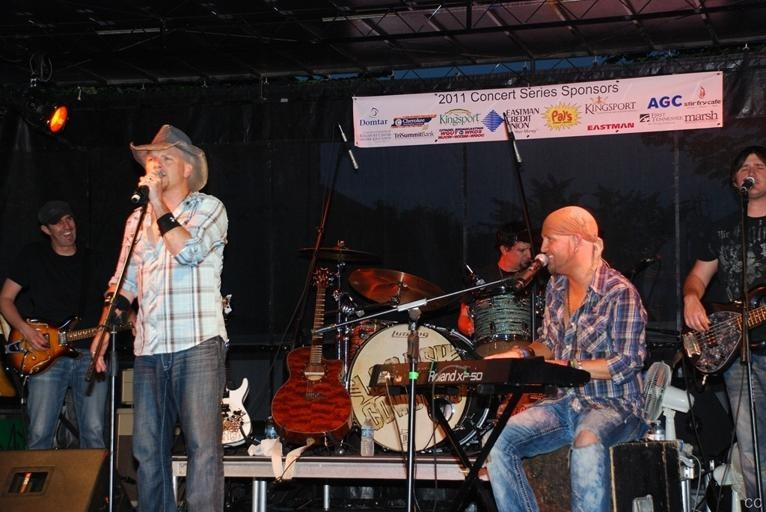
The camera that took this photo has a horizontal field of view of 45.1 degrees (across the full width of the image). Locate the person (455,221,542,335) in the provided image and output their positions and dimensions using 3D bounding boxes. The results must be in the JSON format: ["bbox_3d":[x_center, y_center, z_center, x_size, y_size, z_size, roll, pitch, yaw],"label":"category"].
[{"bbox_3d":[1.131,0.245,8.761,0.745,1.175,0.855,1,-35,16],"label":"person"}]

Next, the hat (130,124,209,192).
[{"bbox_3d":[-1.609,-0.844,7.460,0.467,0.300,0.624,-8,-12,13],"label":"hat"}]

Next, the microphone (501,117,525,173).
[{"bbox_3d":[1.372,-1.169,9.612,0.181,0.817,0.064,0,-51,-9],"label":"microphone"}]

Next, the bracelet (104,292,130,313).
[{"bbox_3d":[-1.958,0.341,6.912,0.130,0.072,0.174,-15,-55,42],"label":"bracelet"}]

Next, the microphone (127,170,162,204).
[{"bbox_3d":[-1.745,-0.560,6.954,0.105,0.401,0.120,34,-42,-6],"label":"microphone"}]

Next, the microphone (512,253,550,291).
[{"bbox_3d":[1.098,0.121,6.875,0.138,0.143,0.520,33,28,16],"label":"microphone"}]

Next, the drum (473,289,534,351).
[{"bbox_3d":[1.061,0.652,8.492,0.501,0.512,0.522,-11,-14,26],"label":"drum"}]

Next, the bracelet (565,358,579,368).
[{"bbox_3d":[1.423,0.815,6.919,0.079,0.064,0.029,5,8,-20],"label":"bracelet"}]

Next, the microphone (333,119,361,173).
[{"bbox_3d":[-0.364,-1.195,10.067,0.242,0.533,0.092,5,-10,-34],"label":"microphone"}]

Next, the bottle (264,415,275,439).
[{"bbox_3d":[-1.035,1.625,8.678,0.105,0.201,0.338,0,-10,-7],"label":"bottle"}]
